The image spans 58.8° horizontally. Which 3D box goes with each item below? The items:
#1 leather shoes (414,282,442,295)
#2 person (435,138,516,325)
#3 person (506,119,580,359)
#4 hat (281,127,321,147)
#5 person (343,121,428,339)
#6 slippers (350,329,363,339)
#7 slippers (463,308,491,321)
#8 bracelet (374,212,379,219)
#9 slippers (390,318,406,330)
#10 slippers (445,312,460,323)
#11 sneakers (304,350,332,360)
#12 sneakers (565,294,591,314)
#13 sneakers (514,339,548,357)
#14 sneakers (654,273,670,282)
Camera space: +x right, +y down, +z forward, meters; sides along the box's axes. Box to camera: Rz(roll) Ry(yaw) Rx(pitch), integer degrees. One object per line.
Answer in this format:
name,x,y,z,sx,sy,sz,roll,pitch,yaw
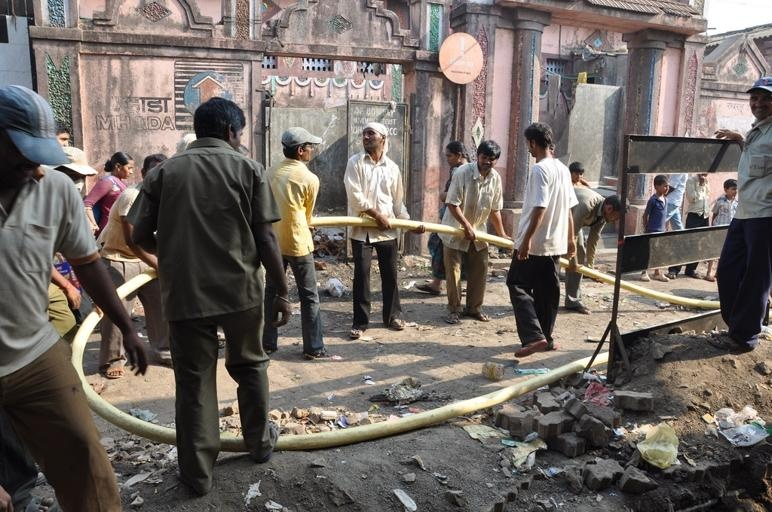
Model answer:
leather shoes,0.639,0.469,10.716,0.443,0.175,0.166,14,18,22
person,1.180,-0.320,9.304,0.853,2.431,0.738,2,13,9
person,1.732,-0.200,7.931,0.631,2.559,0.953,4,14,20
hat,-0.962,-1.361,7.906,0.462,0.168,0.292,-8,22,-27
person,-0.138,-0.335,8.858,0.748,2.659,1.001,3,13,15
slippers,-0.381,0.993,8.731,0.094,0.088,0.194,1,-9,1
slippers,1.268,0.819,9.519,0.359,0.143,0.132,0,5,43
bracelet,-0.111,-0.499,8.612,0.057,0.061,0.074,8,-2,35
slippers,0.147,0.908,9.081,0.157,0.104,0.298,1,-1,-1
slippers,0.920,0.847,9.374,0.131,0.125,0.341,-1,-4,4
sneakers,-0.813,1.172,8.198,0.111,0.132,0.314,10,17,43
sneakers,2.766,0.706,9.948,0.172,0.218,0.464,-14,15,-42
sneakers,1.703,1.070,7.944,0.295,0.102,0.124,-24,37,2
sneakers,4.751,0.383,11.819,0.277,0.120,0.102,6,15,26
